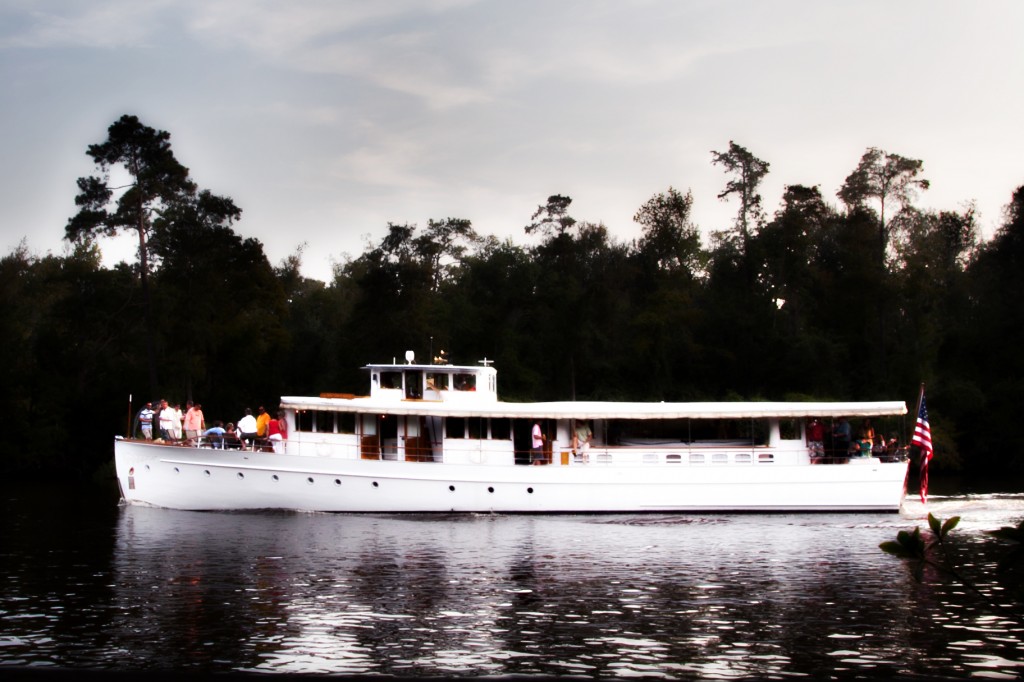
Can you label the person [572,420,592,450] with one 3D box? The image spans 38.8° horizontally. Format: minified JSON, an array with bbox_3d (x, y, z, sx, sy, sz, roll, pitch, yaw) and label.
[{"bbox_3d":[3.124,4.225,65.432,1.088,1.538,0.836,3,-14,-4],"label":"person"}]
